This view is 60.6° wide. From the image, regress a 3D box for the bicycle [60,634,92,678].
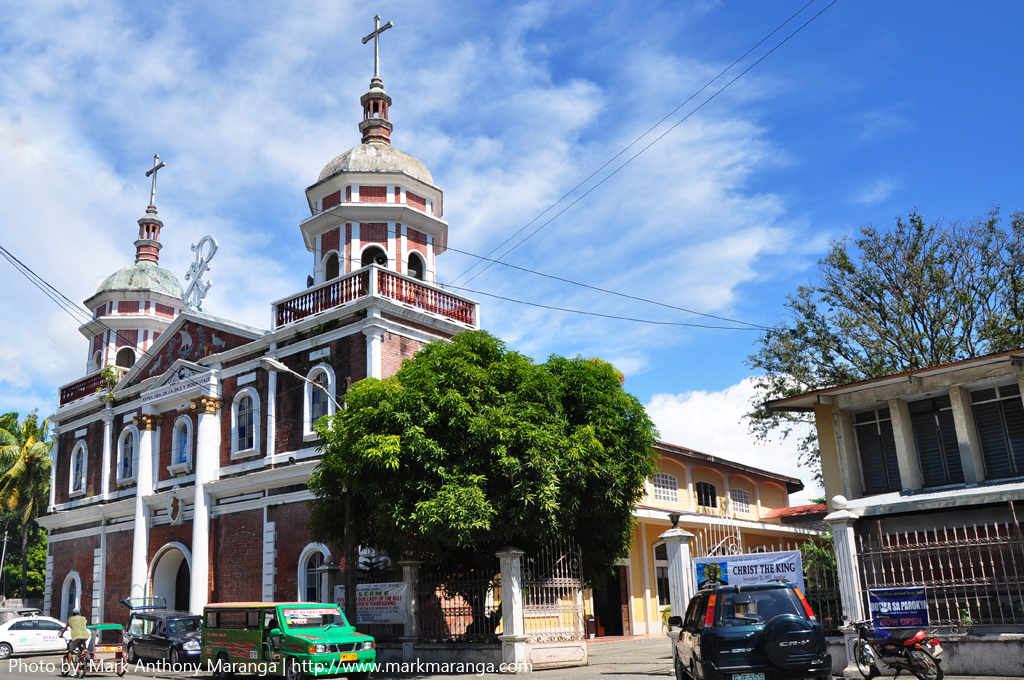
[{"bbox_3d":[-12.968,9.453,26.026,0.691,1.101,1.285,7,-23,-24],"label":"bicycle"}]
